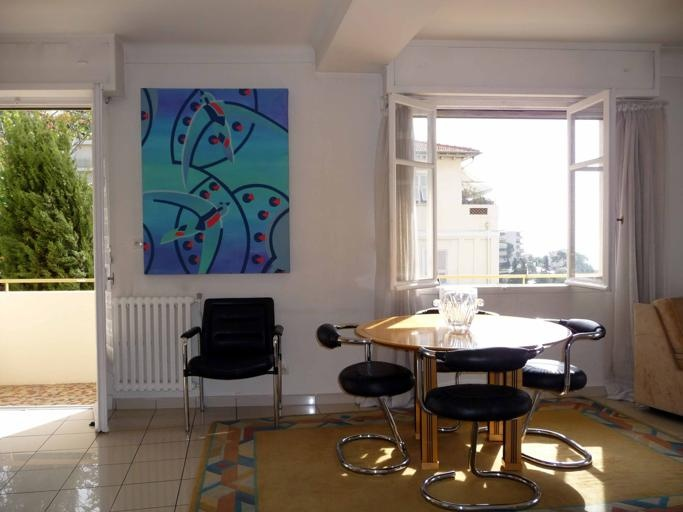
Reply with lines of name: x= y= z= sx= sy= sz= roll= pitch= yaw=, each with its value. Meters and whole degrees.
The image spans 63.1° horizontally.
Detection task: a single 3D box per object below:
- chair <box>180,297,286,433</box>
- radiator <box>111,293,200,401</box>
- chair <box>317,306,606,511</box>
chair: x=-0.911 y=0.902 z=4.823 sx=0.852 sy=1.015 sz=0.661 roll=-1 pitch=2 yaw=-9
radiator: x=-1.688 y=0.810 z=5.116 sx=0.889 sy=0.917 sz=0.160 roll=3 pitch=-3 yaw=-2
chair: x=0.906 y=1.021 z=4.017 sx=2.019 sy=1.078 sz=1.085 roll=-2 pitch=12 yaw=-2
